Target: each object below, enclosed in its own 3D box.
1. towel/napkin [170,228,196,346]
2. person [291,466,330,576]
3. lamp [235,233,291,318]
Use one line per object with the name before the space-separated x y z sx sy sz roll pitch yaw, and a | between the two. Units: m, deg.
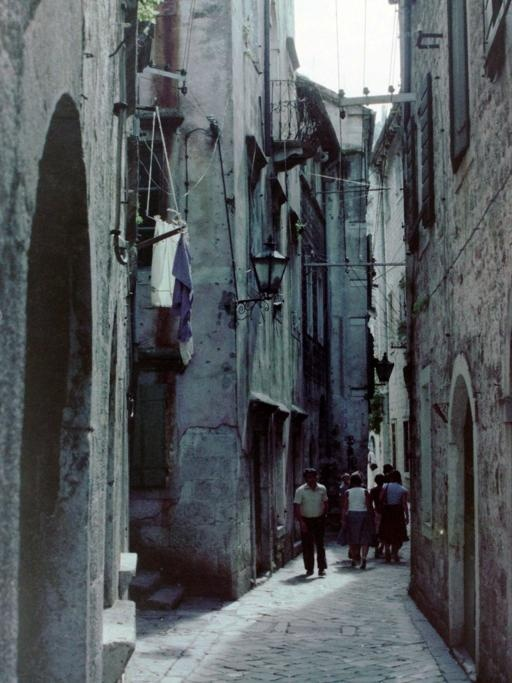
towel/napkin | -0.679 -0.534 12.207 0.151 0.187 0.993 -3 -55 -9
person | 0.634 1.997 15.112 0.270 1.287 0.333 -3 15 1
lamp | 0.064 -0.596 13.339 0.407 0.942 0.281 3 -30 6
